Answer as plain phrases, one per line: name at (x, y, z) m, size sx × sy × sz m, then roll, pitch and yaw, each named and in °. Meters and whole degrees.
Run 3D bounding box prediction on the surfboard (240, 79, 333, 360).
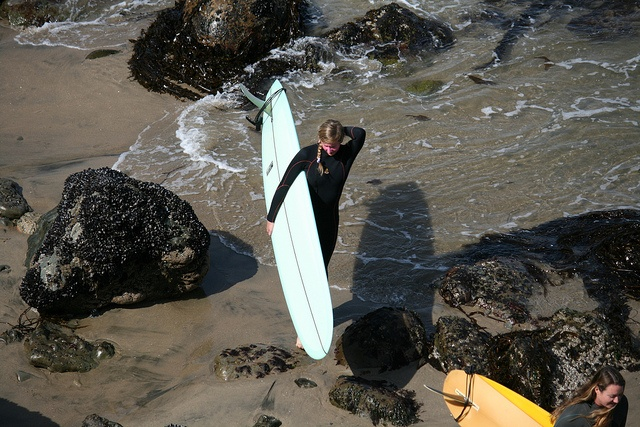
surfboard at (-0.388, 0.018, 15.131) m, size 1.169 × 0.697 × 4.769 m, roll 4°, pitch 68°, yaw -42°
